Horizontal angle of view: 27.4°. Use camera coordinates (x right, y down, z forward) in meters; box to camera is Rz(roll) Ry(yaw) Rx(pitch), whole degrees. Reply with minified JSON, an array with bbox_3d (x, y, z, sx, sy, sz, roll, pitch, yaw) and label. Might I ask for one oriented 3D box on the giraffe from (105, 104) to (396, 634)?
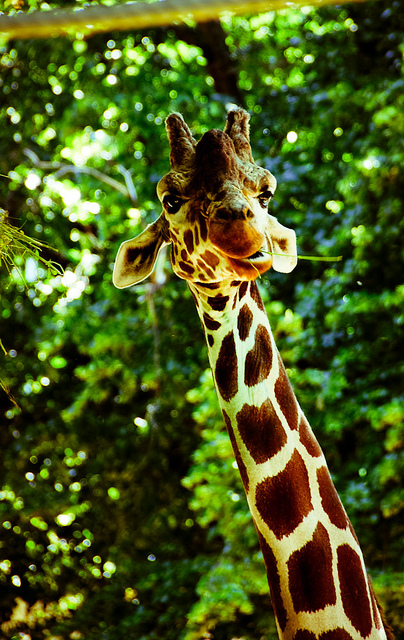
[{"bbox_3d":[0.262,0.138,2.860,0.474,1.640,0.615,-18,-9,-28],"label":"giraffe"}]
